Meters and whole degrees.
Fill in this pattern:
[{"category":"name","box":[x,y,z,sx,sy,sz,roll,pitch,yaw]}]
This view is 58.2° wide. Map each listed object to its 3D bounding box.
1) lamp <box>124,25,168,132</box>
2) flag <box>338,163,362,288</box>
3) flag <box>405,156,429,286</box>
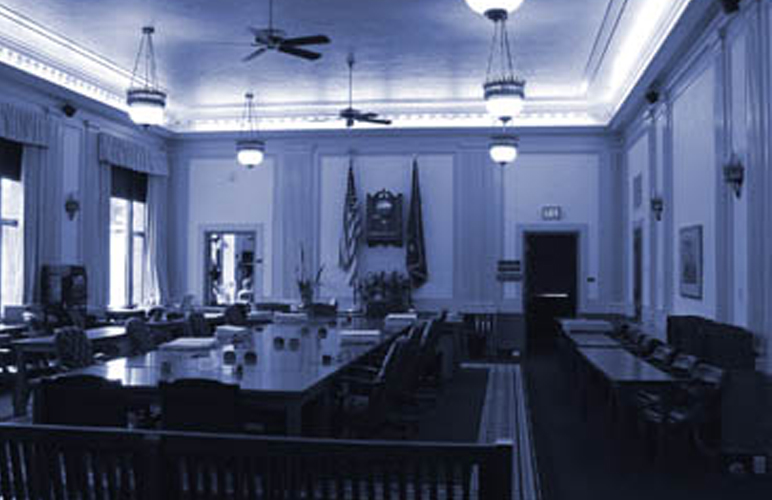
[{"category":"lamp","box":[-3.976,-2.765,11.524,0.554,1.488,2.409,5,3,-21]},{"category":"flag","box":[-0.732,-0.570,14.442,0.513,1.930,0.503,7,3,10]},{"category":"flag","box":[0.680,-0.534,14.356,0.602,2.104,0.383,7,3,11]}]
